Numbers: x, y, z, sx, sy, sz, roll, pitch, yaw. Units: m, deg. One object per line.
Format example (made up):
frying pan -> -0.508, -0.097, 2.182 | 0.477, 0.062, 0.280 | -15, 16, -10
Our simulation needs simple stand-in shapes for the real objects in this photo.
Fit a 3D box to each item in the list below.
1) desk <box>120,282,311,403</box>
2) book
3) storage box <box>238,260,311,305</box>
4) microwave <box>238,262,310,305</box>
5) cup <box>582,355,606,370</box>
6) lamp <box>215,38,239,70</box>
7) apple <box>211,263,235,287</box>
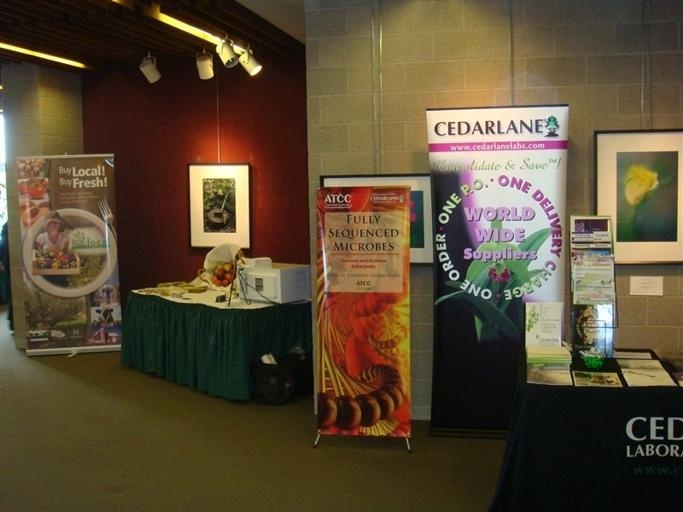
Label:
desk -> -1.380, 0.833, 5.884 | 1.481, 0.634, 0.983 | 3, 4, 40
book -> 1.465, 0.278, 3.563 | 0.768, 0.911, 0.893 | 0, -1, 9
storage box -> -0.614, 0.264, 5.694 | 0.461, 0.310, 0.460 | 4, 7, 45
microwave -> -0.614, 0.275, 5.690 | 0.405, 0.308, 0.533 | -5, 6, -44
cup -> 1.468, 0.615, 3.354 | 0.094, 0.057, 0.079 | 0, -10, 9
lamp -> -1.181, -2.104, 5.930 | 0.194, 0.318, 0.417 | -3, 11, -12
apple -> -1.313, 0.200, 6.357 | 0.267, 0.315, 0.127 | 4, -20, 7
